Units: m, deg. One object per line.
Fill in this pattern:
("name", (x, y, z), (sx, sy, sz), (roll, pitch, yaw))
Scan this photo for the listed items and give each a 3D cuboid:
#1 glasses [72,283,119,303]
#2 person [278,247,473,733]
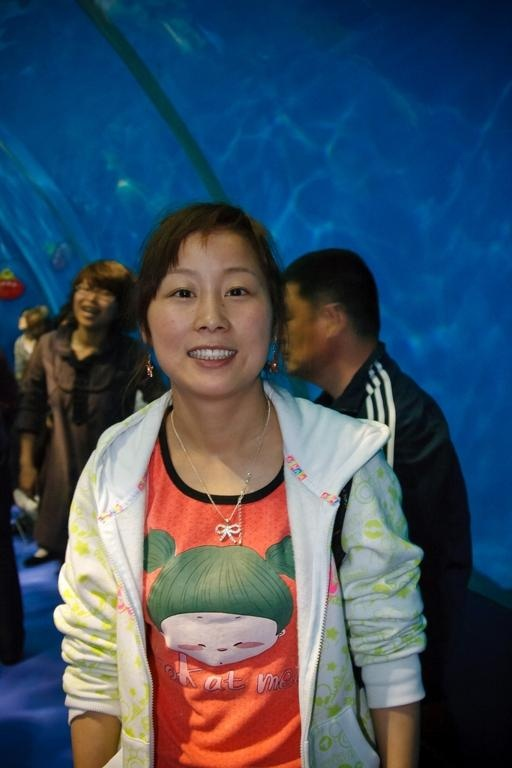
("glasses", (-0.445, -0.242, 1.851), (0.073, 0.062, 0.020), (-6, 8, -2))
("person", (0.355, 0.339, 1.988), (0.627, 1.431, 0.376), (5, 27, 27))
